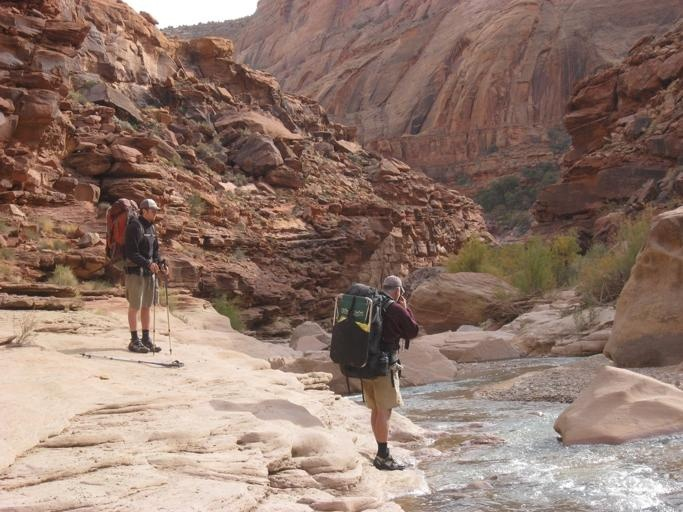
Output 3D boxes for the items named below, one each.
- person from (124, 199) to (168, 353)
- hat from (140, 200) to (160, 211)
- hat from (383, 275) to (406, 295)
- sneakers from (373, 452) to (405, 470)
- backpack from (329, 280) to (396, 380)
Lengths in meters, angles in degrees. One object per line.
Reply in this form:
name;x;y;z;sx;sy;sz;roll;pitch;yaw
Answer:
person;-2.803;0.288;10.084;0.577;1.743;0.515;2;1;-12
hat;-2.718;-0.711;10.029;0.319;0.134;0.193;0;4;-6
hat;0.599;0.337;8.475;0.207;0.208;0.252;8;15;40
sneakers;0.543;2.380;8.202;0.316;0.097;0.154;0;-1;7
backpack;0.262;0.871;8.163;0.747;0.981;0.303;2;1;3
